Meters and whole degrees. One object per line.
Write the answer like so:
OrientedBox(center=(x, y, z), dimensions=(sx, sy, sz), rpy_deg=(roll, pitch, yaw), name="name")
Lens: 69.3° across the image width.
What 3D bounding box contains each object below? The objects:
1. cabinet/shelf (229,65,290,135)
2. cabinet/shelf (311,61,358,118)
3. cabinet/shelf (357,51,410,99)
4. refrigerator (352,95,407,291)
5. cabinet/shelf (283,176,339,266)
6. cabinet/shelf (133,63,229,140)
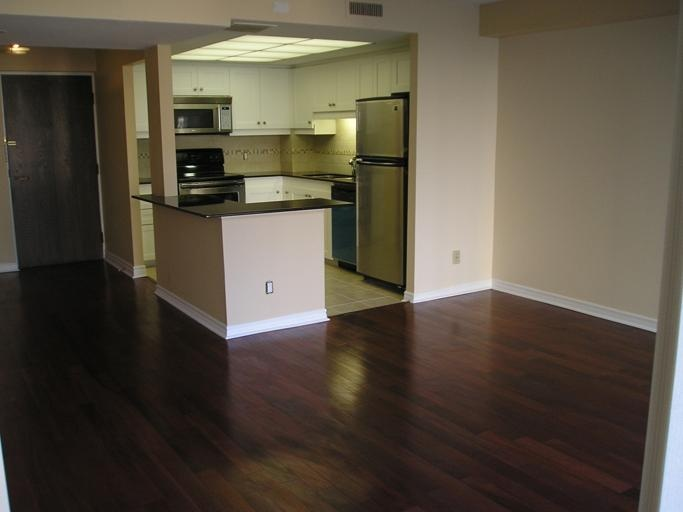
OrientedBox(center=(-1.186, -2.387, 7.509), dimensions=(0.930, 0.883, 0.383), rpy_deg=(0, 18, 3), name="cabinet/shelf")
OrientedBox(center=(-0.071, -2.242, 6.628), dimensions=(0.358, 0.882, 0.949), rpy_deg=(-2, 9, -35), name="cabinet/shelf")
OrientedBox(center=(0.510, -2.147, 5.883), dimensions=(0.138, 0.490, 0.936), rpy_deg=(-10, 18, -30), name="cabinet/shelf")
OrientedBox(center=(0.452, -0.735, 5.496), dimensions=(0.275, 2.020, 0.939), rpy_deg=(-9, 17, -29), name="refrigerator")
OrientedBox(center=(-0.611, -0.453, 6.848), dimensions=(0.414, 1.146, 1.280), rpy_deg=(0, -1, 26), name="cabinet/shelf")
OrientedBox(center=(-2.103, -2.281, 7.135), dimensions=(1.158, 0.964, 0.687), rpy_deg=(1, 32, 3), name="cabinet/shelf")
